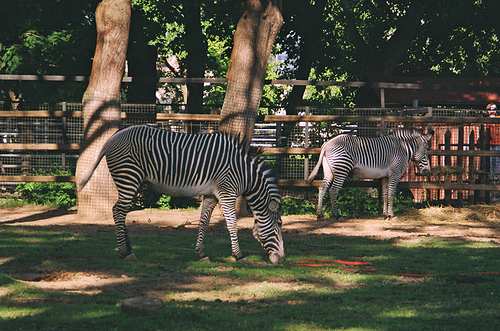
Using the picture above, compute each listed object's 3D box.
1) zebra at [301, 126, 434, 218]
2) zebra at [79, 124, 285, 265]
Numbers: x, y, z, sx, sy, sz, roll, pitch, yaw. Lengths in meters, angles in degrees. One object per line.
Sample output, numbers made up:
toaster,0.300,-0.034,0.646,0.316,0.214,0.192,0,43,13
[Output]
zebra,4.084,0.274,32.681,4.837,3.040,1.267,1,-5,-27
zebra,-1.805,0.892,27.824,6.494,3.892,1.548,8,-12,-27
